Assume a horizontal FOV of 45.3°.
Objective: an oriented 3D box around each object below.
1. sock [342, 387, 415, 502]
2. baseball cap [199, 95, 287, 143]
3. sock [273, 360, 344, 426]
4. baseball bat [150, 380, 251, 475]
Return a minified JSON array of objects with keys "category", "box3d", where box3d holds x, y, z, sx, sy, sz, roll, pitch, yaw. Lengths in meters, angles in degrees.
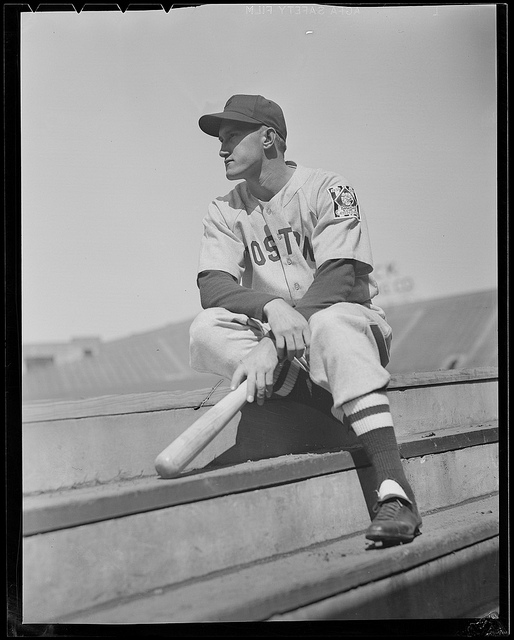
[{"category":"sock","box3d":[0.364,0.390,1.880,0.172,0.344,0.094,-13,-17,17]},{"category":"baseball cap","box3d":[-0.049,-0.749,2.276,0.328,0.166,0.074,-8,-16,-12]},{"category":"sock","box3d":[0.157,0.240,2.048,0.205,0.222,0.094,-10,-17,-1]},{"category":"baseball bat","box3d":[-0.168,0.340,1.895,0.350,0.054,0.060,-48,-35,-41]}]
